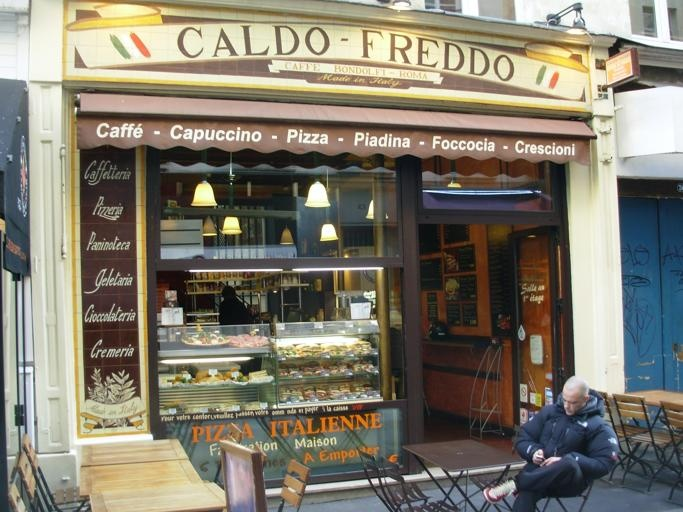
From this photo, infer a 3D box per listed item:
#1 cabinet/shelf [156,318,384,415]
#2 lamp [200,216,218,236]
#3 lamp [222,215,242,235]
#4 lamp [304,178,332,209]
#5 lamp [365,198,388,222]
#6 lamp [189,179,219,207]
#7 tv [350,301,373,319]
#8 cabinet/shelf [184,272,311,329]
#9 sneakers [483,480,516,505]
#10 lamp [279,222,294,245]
[{"bbox_3d":[-0.922,1.473,9.664,2.931,1.166,0.716,-3,6,-8],"label":"cabinet/shelf"},{"bbox_3d":[-1.758,-0.384,9.452,0.234,0.238,0.228,-1,6,-10],"label":"lamp"},{"bbox_3d":[-1.468,-0.423,9.528,0.246,0.190,0.240,-2,1,-41],"label":"lamp"},{"bbox_3d":[-0.333,-0.869,9.881,0.333,0.357,0.369,-2,-6,35],"label":"lamp"},{"bbox_3d":[0.513,-0.650,10.153,0.274,0.292,0.299,1,-5,-2],"label":"lamp"},{"bbox_3d":[-1.832,-0.824,9.435,0.320,0.339,0.343,-3,-6,40],"label":"lamp"},{"bbox_3d":[0.275,0.763,10.023,0.258,0.209,0.034,0,3,-6],"label":"tv"},{"bbox_3d":[-1.264,0.616,9.851,1.590,0.959,0.916,-5,-2,-20],"label":"cabinet/shelf"},{"bbox_3d":[1.775,2.555,7.687,0.485,0.165,0.201,8,-28,-45],"label":"sneakers"},{"bbox_3d":[-0.740,-0.283,9.731,0.240,0.250,0.236,0,-3,-4],"label":"lamp"}]
